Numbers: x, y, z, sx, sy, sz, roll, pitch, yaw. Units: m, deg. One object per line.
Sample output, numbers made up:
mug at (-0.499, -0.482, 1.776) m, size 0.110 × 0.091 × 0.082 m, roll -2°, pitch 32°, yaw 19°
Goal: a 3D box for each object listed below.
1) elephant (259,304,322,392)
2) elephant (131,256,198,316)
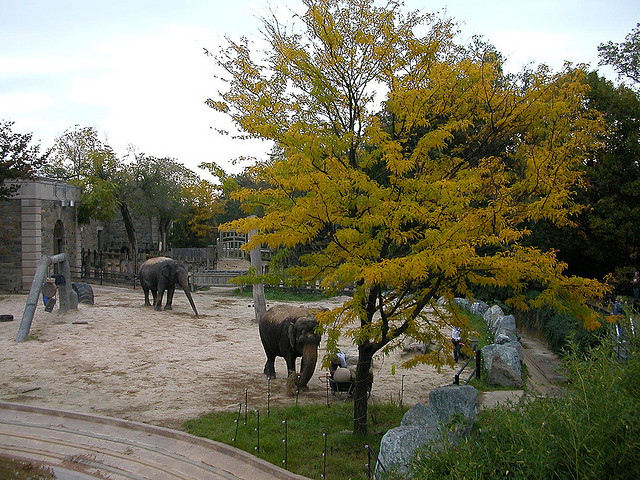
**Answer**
elephant at (-0.851, 2.858, 14.026) m, size 1.110 × 2.121 × 2.621 m, roll 4°, pitch 0°, yaw -31°
elephant at (-7.225, 2.036, 24.088) m, size 4.043 × 2.464 × 1.377 m, roll 4°, pitch 4°, yaw 32°
